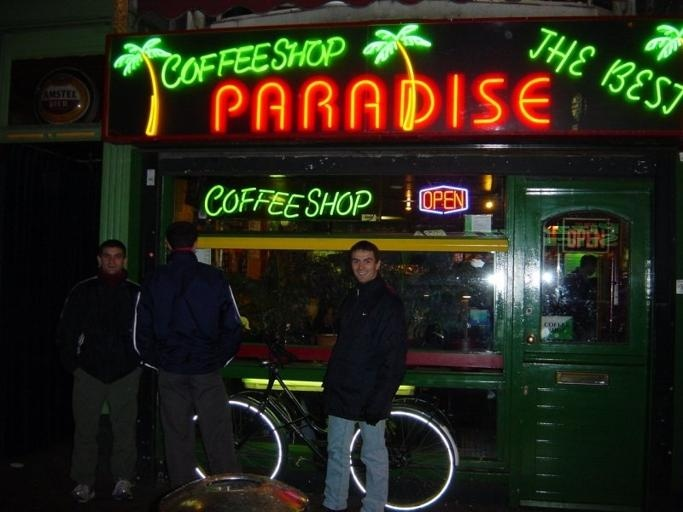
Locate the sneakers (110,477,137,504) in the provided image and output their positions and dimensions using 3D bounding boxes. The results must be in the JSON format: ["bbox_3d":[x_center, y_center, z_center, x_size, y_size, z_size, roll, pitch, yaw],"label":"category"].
[{"bbox_3d":[-2.050,2.186,6.553,0.177,0.192,0.195,1,-3,2],"label":"sneakers"}]
